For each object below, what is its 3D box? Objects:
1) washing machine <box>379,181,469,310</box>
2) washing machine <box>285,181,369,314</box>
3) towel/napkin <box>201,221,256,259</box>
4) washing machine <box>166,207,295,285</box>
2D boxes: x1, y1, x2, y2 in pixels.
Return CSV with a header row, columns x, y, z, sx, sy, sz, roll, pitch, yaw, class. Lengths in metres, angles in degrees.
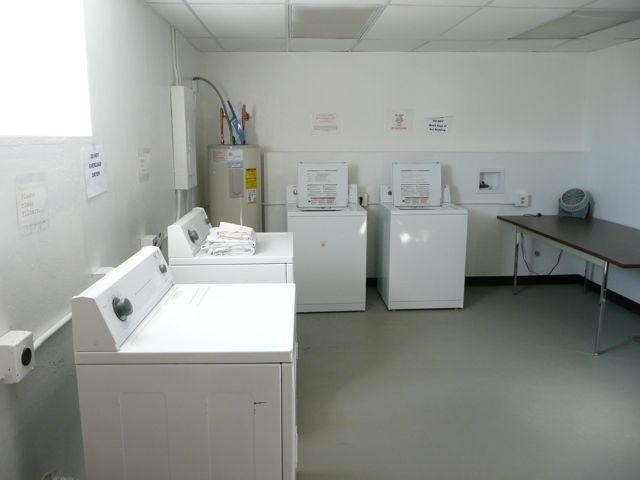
x,y,z,sx,sy,sz,roll,pitch,yaw,class
1.071,0.052,4.594,0.795,1.206,0.682,-1,10,-7,washing machine
0.132,0.148,4.680,0.872,1.466,0.924,-1,8,-1,washing machine
-0.601,0.007,2.873,0.242,0.100,0.261,1,17,-5,towel/napkin
-0.584,0.101,2.897,0.583,0.450,0.616,0,7,-3,washing machine
